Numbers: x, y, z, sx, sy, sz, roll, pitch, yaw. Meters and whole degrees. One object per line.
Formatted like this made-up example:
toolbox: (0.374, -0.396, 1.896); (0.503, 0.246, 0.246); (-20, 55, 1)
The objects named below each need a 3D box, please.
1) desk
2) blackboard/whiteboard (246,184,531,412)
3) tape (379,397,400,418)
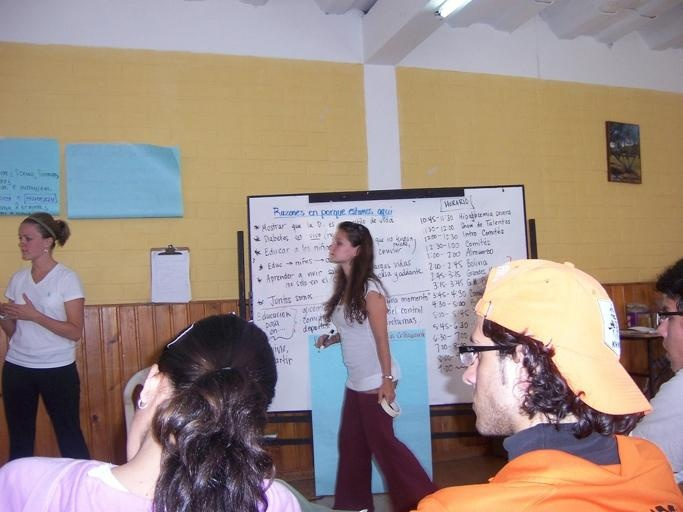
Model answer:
desk: (2.615, 0.924, 4.926); (0.494, 0.642, 0.437); (6, 0, 23)
blackboard/whiteboard: (0.195, 0.261, 3.443); (1.500, 1.117, 0.025); (-1, -3, -5)
tape: (0.279, 0.858, 3.262); (0.097, 0.035, 0.098); (30, 29, -31)
